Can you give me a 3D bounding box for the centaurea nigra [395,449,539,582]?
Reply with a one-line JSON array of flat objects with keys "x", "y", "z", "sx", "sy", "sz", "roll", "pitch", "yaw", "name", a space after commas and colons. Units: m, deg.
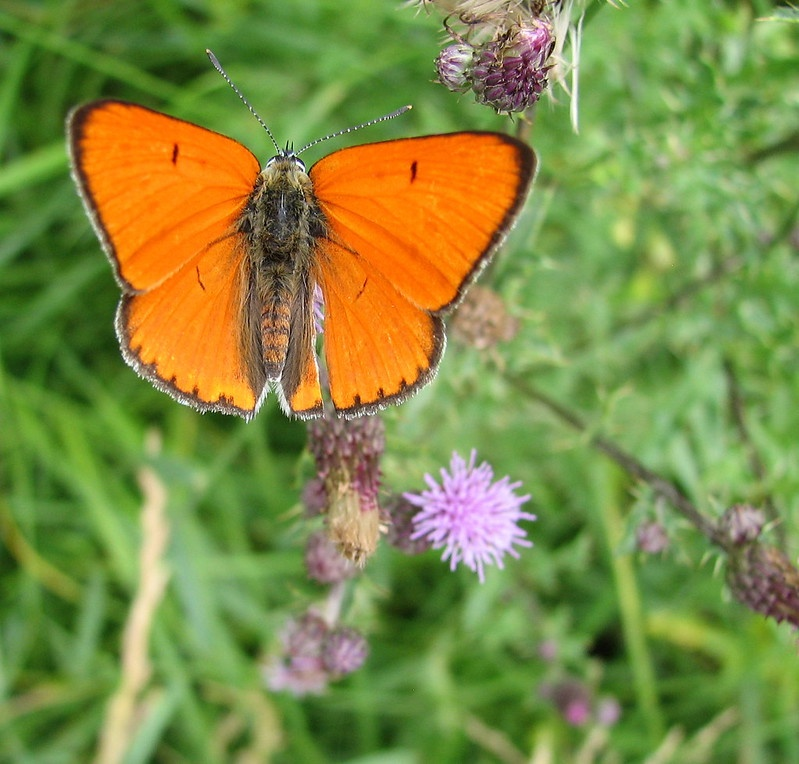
[{"x": 0.183, "y": 0.378, "z": 2.672, "sx": 0.356, "sy": 0.181, "sz": 0.407, "roll": -16, "pitch": 79, "yaw": -8, "name": "centaurea nigra"}]
